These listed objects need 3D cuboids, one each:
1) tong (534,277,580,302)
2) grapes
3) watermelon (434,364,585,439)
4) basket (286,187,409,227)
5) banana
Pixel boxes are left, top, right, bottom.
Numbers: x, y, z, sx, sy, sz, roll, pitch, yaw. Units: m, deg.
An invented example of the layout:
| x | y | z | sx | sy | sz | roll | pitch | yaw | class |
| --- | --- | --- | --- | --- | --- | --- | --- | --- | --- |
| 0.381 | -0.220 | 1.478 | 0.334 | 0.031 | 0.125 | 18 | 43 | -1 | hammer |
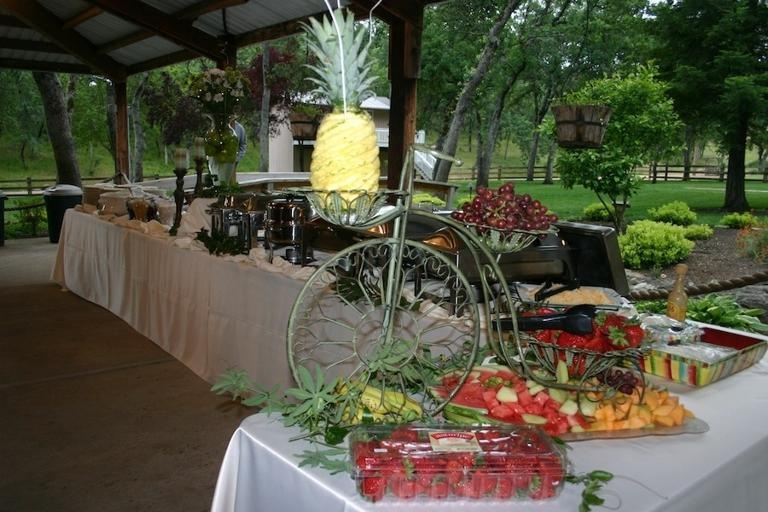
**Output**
| x | y | z | sx | sy | sz | roll | pitch | yaw | class |
| --- | --- | --- | --- | --- | --- | --- | --- | --- | --- |
| 0.805 | 0.177 | 2.322 | 0.183 | 0.046 | 0.150 | -23 | 17 | -22 | tong |
| 0.386 | -0.157 | 1.642 | 0.335 | 0.165 | 0.199 | 5 | 15 | 17 | grapes |
| 0.407 | 0.485 | 1.709 | 0.309 | 0.098 | 0.238 | 19 | 25 | 37 | watermelon |
| -0.121 | -0.139 | 1.443 | 0.291 | 0.120 | 0.102 | 1 | 15 | 2 | basket |
| -0.016 | 0.477 | 1.694 | 0.283 | 0.137 | 0.146 | -1 | 15 | -5 | banana |
